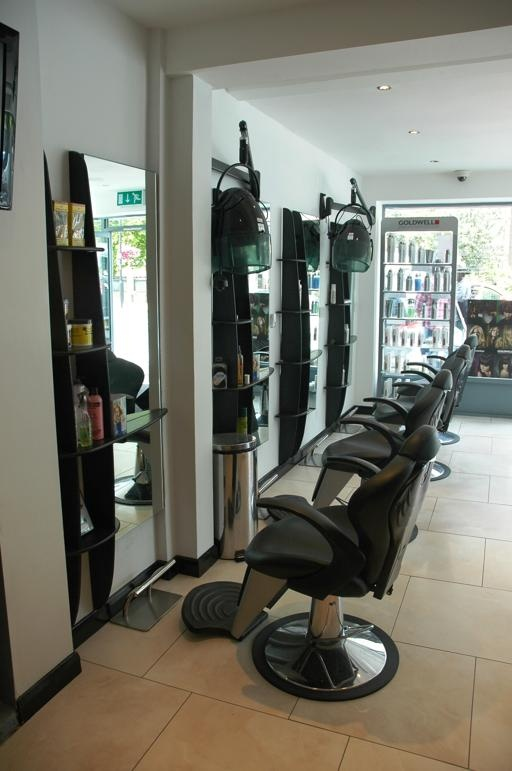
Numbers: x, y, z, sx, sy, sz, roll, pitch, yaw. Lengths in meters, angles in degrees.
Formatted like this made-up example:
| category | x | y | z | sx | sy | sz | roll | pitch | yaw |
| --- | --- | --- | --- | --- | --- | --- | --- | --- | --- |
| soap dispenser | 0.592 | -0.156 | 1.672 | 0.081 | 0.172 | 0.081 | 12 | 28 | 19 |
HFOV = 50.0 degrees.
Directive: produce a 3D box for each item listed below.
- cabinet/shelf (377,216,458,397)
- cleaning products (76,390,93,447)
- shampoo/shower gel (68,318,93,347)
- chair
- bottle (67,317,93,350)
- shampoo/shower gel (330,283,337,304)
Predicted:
| category | x | y | z | sx | sy | sz | roll | pitch | yaw |
| --- | --- | --- | --- | --- | --- | --- | --- | --- | --- |
| cabinet/shelf | 1.901 | -1.036 | 6.492 | 0.785 | 2.161 | 0.250 | 4 | -25 | 15 |
| cleaning products | -0.627 | 0.113 | 1.993 | 0.057 | 0.218 | 0.066 | -2 | 5 | -18 |
| shampoo/shower gel | -0.615 | -0.188 | 1.927 | 0.081 | 0.101 | 0.084 | 10 | 12 | 38 |
| chair | 0.382 | 0.378 | 2.394 | 1.165 | 1.548 | 1.104 | 7 | 13 | 32 |
| bottle | -0.619 | -0.180 | 1.925 | 0.085 | 0.110 | 0.091 | 2 | 8 | 0 |
| shampoo/shower gel | 0.782 | -0.919 | 5.555 | 0.058 | 0.199 | 0.071 | 2 | 6 | 27 |
